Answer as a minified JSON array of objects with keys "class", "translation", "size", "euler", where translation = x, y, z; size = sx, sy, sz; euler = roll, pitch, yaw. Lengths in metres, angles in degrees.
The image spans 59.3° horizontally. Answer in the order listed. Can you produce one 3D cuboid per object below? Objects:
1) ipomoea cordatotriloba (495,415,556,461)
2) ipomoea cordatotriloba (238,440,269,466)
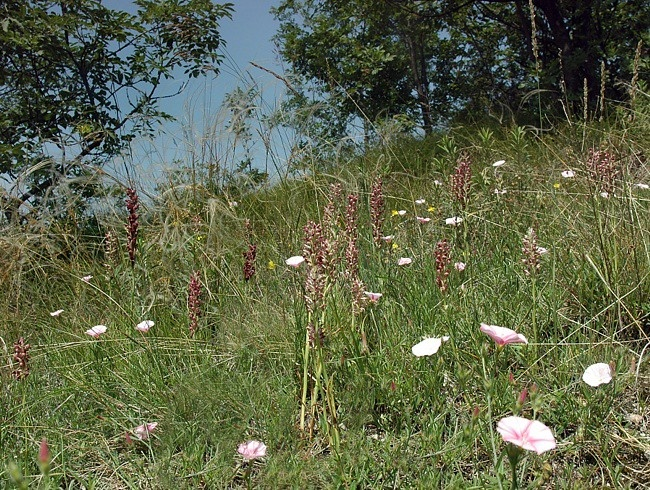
[{"class":"ipomoea cordatotriloba","translation":[0.941,0.902,2.679],"size":[0.183,0.076,0.189],"euler":[-5,31,-13]},{"class":"ipomoea cordatotriloba","translation":[-0.368,1.053,2.979],"size":[0.167,0.108,0.202],"euler":[0,-5,7]}]
